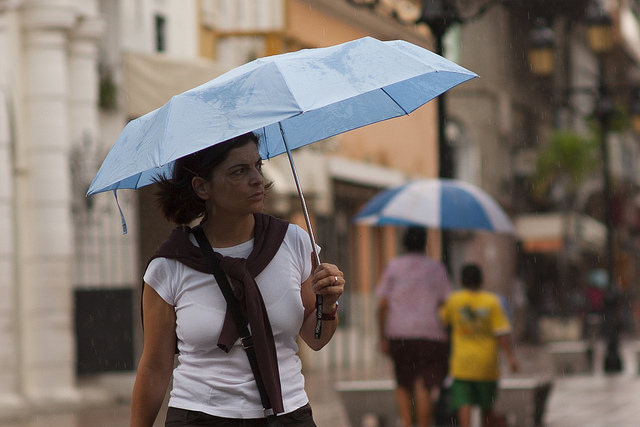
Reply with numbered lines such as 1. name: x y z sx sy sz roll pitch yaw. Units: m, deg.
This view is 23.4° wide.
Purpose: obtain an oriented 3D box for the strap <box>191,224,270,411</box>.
1. strap: -0.743 0.927 12.757 0.212 1.591 0.182 -26 -6 -8

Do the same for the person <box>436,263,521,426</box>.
1. person: 1.598 1.338 15.867 0.773 1.656 0.317 -1 -4 13
